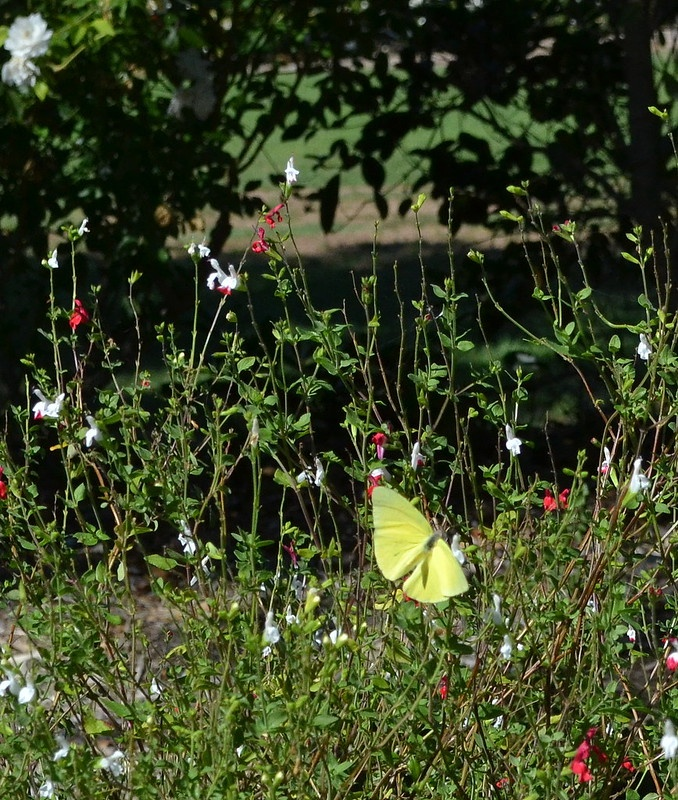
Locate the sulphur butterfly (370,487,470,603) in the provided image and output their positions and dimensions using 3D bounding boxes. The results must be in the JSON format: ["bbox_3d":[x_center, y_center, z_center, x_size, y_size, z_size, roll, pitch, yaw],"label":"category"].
[{"bbox_3d":[0.135,0.270,1.946,0.139,0.201,0.194,-12,23,-1],"label":"sulphur butterfly"}]
